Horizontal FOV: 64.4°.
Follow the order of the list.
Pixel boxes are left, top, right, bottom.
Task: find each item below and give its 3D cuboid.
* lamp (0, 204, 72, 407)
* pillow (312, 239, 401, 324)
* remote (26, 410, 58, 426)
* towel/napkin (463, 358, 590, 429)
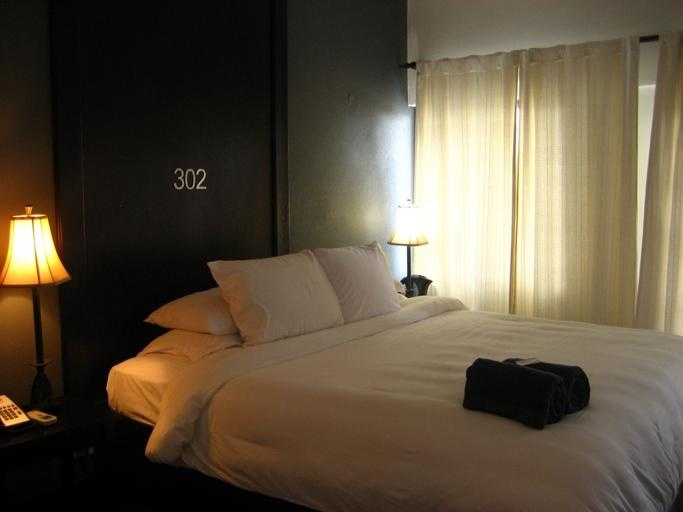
[{"bbox_3d":[-1.530,0.224,2.693,0.315,0.935,0.284,8,15,33],"label":"lamp"},{"bbox_3d":[0.098,0.144,3.490,0.482,0.505,0.143,-8,-19,-43],"label":"pillow"},{"bbox_3d":[-1.407,0.748,2.543,0.130,0.031,0.066,6,10,27],"label":"remote"},{"bbox_3d":[0.771,0.536,2.201,0.298,0.186,0.309,-9,7,-40],"label":"towel/napkin"}]
